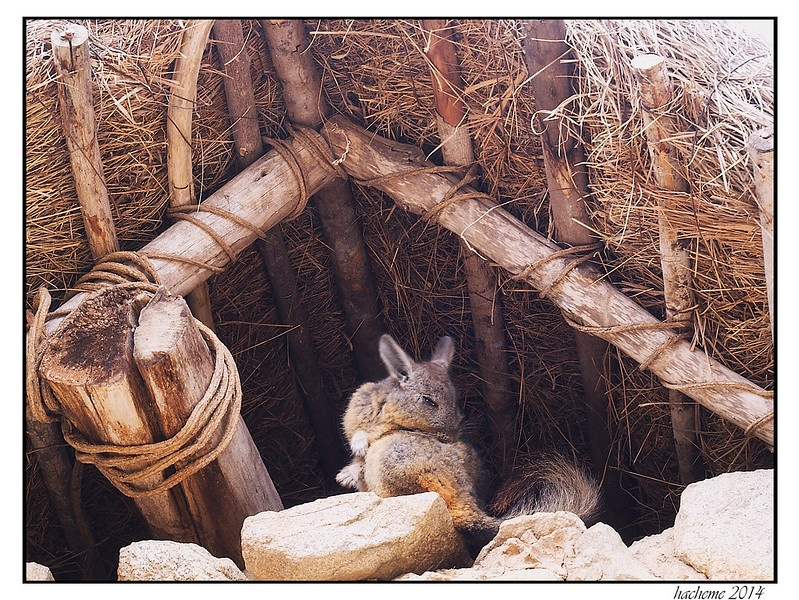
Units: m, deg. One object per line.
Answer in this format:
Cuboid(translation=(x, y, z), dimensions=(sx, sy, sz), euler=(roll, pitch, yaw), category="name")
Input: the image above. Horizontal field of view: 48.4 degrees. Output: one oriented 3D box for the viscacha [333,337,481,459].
Cuboid(translation=(0.027, 0.514, 4.808), dimensions=(0.515, 0.740, 0.775), euler=(3, 8, -43), category="viscacha")
